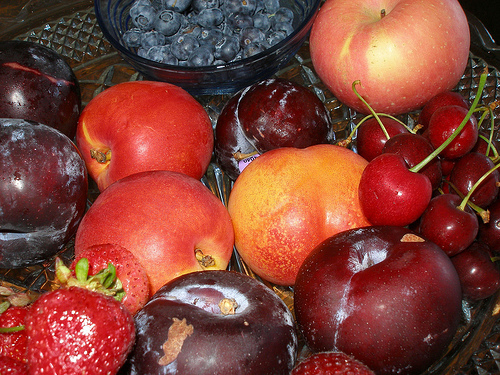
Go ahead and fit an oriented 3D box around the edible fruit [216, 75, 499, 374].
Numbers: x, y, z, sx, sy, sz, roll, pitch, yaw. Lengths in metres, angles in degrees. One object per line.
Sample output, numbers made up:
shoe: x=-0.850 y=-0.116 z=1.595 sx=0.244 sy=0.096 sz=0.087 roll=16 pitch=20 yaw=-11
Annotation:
edible fruit: x=0.168 y=0.180 z=1.219 sx=0.601 sy=0.239 sz=0.607 roll=-43 pitch=82 yaw=-16
